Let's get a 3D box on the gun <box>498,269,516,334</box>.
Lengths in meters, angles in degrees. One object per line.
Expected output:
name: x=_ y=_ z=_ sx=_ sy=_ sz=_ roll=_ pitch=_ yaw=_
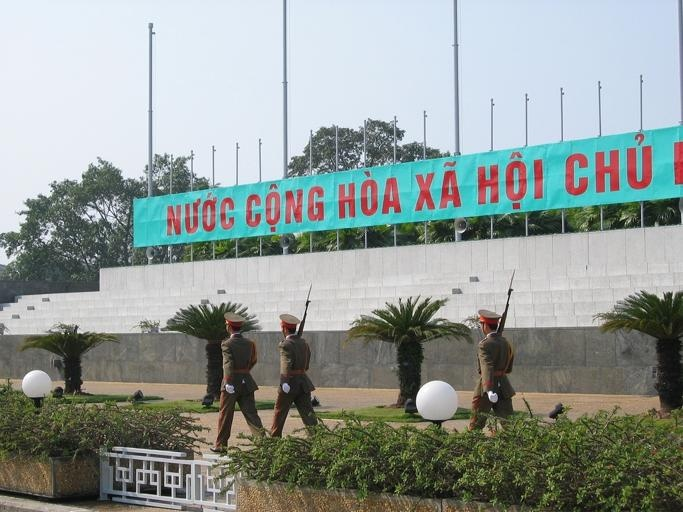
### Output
gun: x=4.234 y=1.145 z=38.601 sx=0.390 sy=1.745 sz=0.120 roll=20 pitch=16 yaw=23

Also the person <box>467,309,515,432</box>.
person: x=2.982 y=2.101 z=29.652 sx=0.811 sy=2.195 sz=0.673 roll=1 pitch=-5 yaw=-32

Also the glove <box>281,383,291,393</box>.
glove: x=-1.164 y=2.665 z=30.448 sx=0.156 sy=0.220 sz=0.050 roll=3 pitch=-1 yaw=-20

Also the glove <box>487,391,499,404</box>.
glove: x=2.948 y=2.752 z=29.271 sx=0.117 sy=0.193 sz=0.221 roll=-15 pitch=31 yaw=-42

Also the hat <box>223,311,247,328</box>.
hat: x=-2.306 y=1.322 z=31.143 sx=0.356 sy=0.187 sz=0.411 roll=-1 pitch=9 yaw=-33

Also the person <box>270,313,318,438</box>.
person: x=-1.022 y=2.388 z=30.677 sx=1.053 sy=2.541 sz=0.785 roll=2 pitch=-5 yaw=-40

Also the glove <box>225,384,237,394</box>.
glove: x=-2.292 y=2.682 z=30.590 sx=0.148 sy=0.180 sz=0.184 roll=-9 pitch=-12 yaw=-42

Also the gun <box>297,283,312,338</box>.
gun: x=-1.061 y=1.474 z=41.647 sx=0.339 sy=1.539 sz=0.109 roll=23 pitch=23 yaw=27
